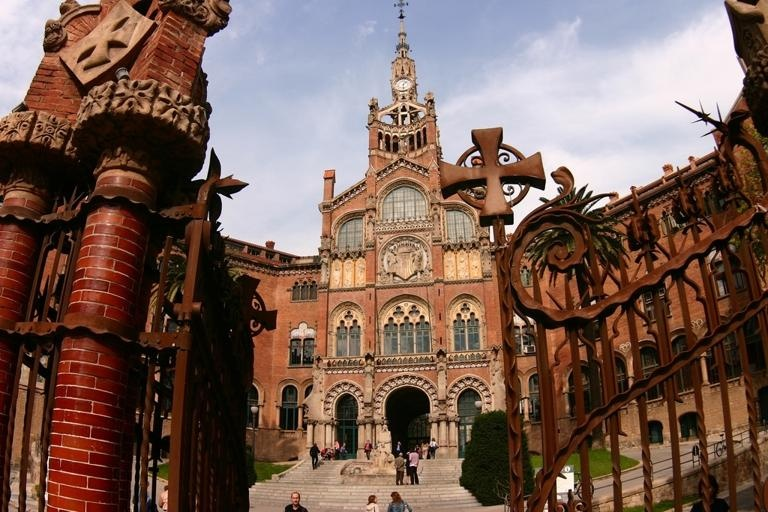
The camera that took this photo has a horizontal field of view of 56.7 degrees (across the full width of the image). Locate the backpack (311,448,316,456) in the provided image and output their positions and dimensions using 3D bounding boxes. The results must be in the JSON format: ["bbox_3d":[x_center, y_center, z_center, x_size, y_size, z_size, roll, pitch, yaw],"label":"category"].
[{"bbox_3d":[-3.184,8.961,32.495,0.257,0.385,0.670,4,-24,-10],"label":"backpack"}]
